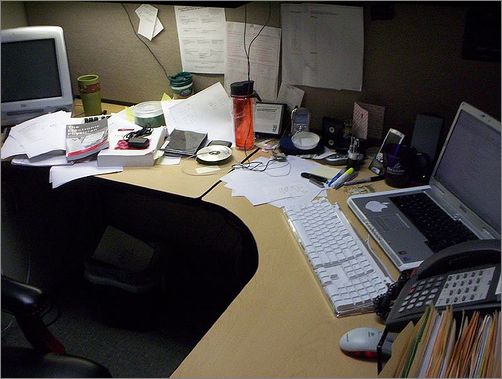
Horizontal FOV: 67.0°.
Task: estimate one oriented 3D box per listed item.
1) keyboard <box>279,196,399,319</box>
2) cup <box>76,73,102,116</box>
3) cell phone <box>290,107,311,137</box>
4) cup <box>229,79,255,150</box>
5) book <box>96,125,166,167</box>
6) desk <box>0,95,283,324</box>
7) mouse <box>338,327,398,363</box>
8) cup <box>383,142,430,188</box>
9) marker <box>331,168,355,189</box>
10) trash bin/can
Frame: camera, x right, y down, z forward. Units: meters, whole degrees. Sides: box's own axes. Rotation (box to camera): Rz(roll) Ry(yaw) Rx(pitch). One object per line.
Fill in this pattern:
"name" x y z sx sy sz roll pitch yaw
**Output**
"keyboard" 0.247 0.169 1.109 0.200 0.086 0.534 -7 25 -7
"cup" -0.807 -0.467 1.898 0.105 0.189 0.182 -13 32 -21
"cell phone" 0.212 -0.295 1.699 0.093 0.184 0.103 2 8 3
"cup" -0.026 -0.312 1.601 0.116 0.295 0.117 1 29 0
"book" -0.499 -0.185 1.595 0.230 0.074 0.263 -1 30 0
"desk" -0.445 0.115 2.203 1.450 0.795 0.967 9 3 32
"mouse" 0.261 0.336 0.816 0.100 0.030 0.064 -1 38 17
"cup" 0.537 -0.086 1.331 0.170 0.126 0.117 -3 18 -10
"marker" 0.348 -0.058 1.397 0.036 0.033 0.189 29 40 18
"trash bin/can" -0.629 0.606 2.122 0.338 0.339 0.442 2 -8 -17
